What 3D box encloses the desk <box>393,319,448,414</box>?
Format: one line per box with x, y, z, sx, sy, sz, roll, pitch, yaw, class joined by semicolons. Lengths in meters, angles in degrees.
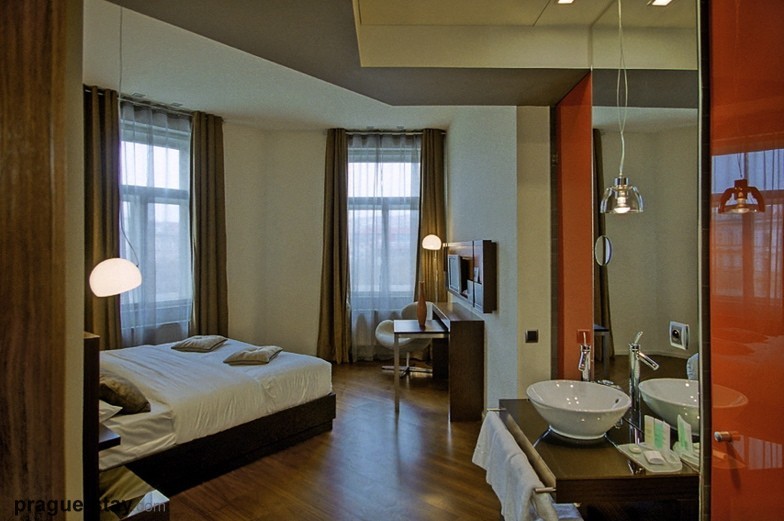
0.275;0.935;6.136;0.532;0.647;0.988;0;3;-3;desk

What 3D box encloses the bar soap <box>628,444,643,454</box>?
1.280;0.988;3.289;0.042;0.017;0.035;-1;9;-7;bar soap

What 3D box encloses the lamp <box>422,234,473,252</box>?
0.565;-0.197;7.087;0.429;0.120;0.178;2;5;4;lamp

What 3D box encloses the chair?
0.146;0.883;7.007;0.694;0.762;0.657;3;5;3;chair

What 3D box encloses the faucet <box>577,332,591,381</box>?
1.185;0.595;3.845;0.081;0.268;0.342;4;13;17;faucet

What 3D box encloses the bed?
-1.450;1.146;4.704;1.380;0.516;1.464;-1;3;-44;bed

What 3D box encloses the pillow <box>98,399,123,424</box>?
-1.861;0.985;4.148;0.130;0.103;0.189;-5;14;-23;pillow

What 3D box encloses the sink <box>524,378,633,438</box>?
1.000;0.841;3.476;0.559;0.197;0.554;-5;1;-3;sink
